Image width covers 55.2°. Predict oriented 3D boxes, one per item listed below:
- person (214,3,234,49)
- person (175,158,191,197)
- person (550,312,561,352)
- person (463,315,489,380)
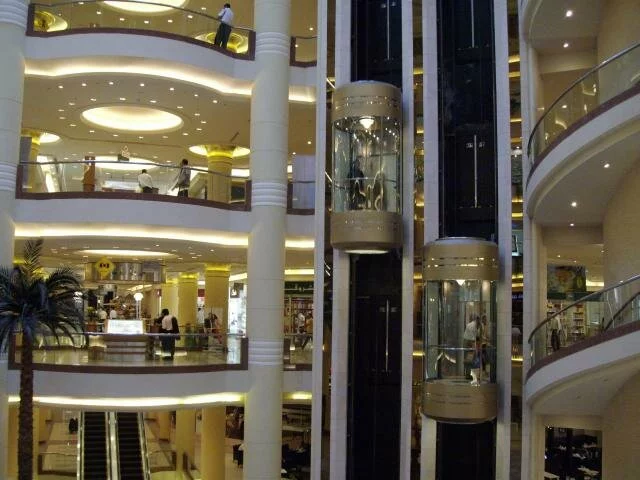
[{"bbox_3d":[-3.107,-6.940,19.740,0.541,2.005,1.033,1,-8,-8],"label":"person"},{"bbox_3d":[-4.088,-1.740,18.260,0.456,0.860,0.448,2,-8,-14],"label":"person"},{"bbox_3d":[5.746,2.261,14.991,0.304,0.940,0.187,-6,-10,37],"label":"person"},{"bbox_3d":[4.066,2.829,16.109,0.683,1.641,0.324,1,-8,-7],"label":"person"}]
